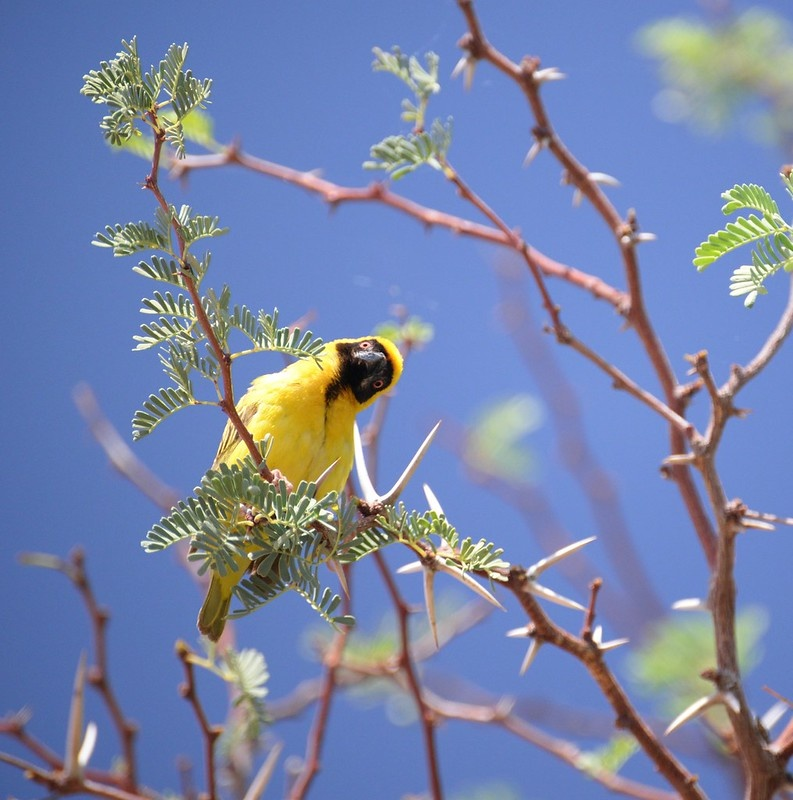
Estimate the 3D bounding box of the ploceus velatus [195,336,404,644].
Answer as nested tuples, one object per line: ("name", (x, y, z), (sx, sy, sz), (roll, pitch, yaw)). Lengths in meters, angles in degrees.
("ploceus velatus", (-0.337, 0.273, 3.656), (1.057, 0.348, 0.456), (-39, -86, 19))
